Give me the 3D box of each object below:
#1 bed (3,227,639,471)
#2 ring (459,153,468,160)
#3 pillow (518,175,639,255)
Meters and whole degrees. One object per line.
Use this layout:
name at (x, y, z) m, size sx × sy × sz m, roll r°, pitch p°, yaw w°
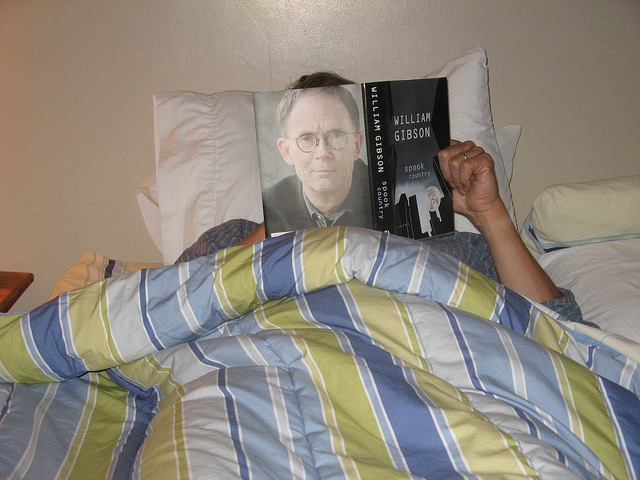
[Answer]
bed at (-0.014, 0.220, 1.099) m, size 1.358 × 0.463 × 0.386 m, roll -1°, pitch 5°, yaw 1°
ring at (0.375, -0.221, 1.445) m, size 0.021 × 0.017 × 0.009 m, roll 0°, pitch 5°, yaw 9°
pillow at (0.734, -0.075, 1.601) m, size 0.306 × 0.216 × 0.106 m, roll -2°, pitch 13°, yaw 11°
